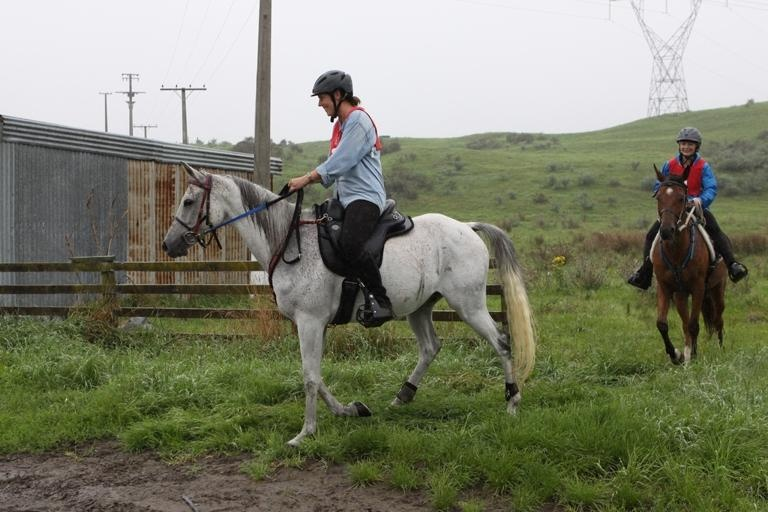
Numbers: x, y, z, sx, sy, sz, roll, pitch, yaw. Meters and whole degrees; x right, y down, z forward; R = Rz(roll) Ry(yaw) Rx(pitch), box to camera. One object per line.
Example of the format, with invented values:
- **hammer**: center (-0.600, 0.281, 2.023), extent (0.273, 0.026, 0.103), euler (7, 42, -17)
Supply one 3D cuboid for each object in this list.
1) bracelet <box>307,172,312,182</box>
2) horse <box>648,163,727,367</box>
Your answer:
- **bracelet**: center (-1.027, -1.104, 9.493), extent (0.066, 0.096, 0.103), euler (5, 45, -4)
- **horse**: center (5.569, 0.086, 12.514), extent (1.098, 3.464, 2.150), euler (4, 9, 34)
